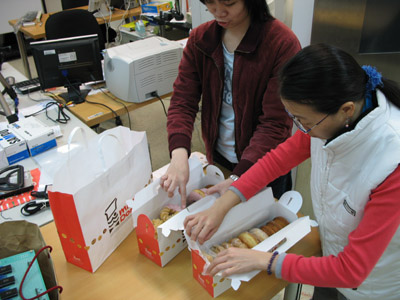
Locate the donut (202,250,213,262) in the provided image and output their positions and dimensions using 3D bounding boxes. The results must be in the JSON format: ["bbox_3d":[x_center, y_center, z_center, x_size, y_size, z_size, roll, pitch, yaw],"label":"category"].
[{"bbox_3d":[0.030,0.400,1.133,0.021,0.025,0.067,-34,36,-10],"label":"donut"}]

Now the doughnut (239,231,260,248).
[{"bbox_3d":[0.196,0.356,1.202,0.049,0.018,0.050,38,2,34],"label":"doughnut"}]

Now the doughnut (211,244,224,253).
[{"bbox_3d":[0.069,0.392,1.181,0.049,0.023,0.048,-7,32,-11],"label":"doughnut"}]

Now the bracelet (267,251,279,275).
[{"bbox_3d":[0.260,0.396,1.039,0.044,0.070,0.019,-7,-4,-28],"label":"bracelet"}]

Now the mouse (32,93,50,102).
[{"bbox_3d":[-1.423,-0.470,2.630,0.174,0.030,0.106,13,34,20],"label":"mouse"}]

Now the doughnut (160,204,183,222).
[{"bbox_3d":[-0.128,0.265,1.289,0.099,0.077,0.112,1,31,2],"label":"doughnut"}]

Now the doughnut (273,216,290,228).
[{"bbox_3d":[0.358,0.306,1.277,0.037,0.013,0.038,-23,37,-36],"label":"doughnut"}]

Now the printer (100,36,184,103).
[{"bbox_3d":[-0.481,-0.707,2.592,0.650,0.448,0.361,-22,36,-32],"label":"printer"}]
